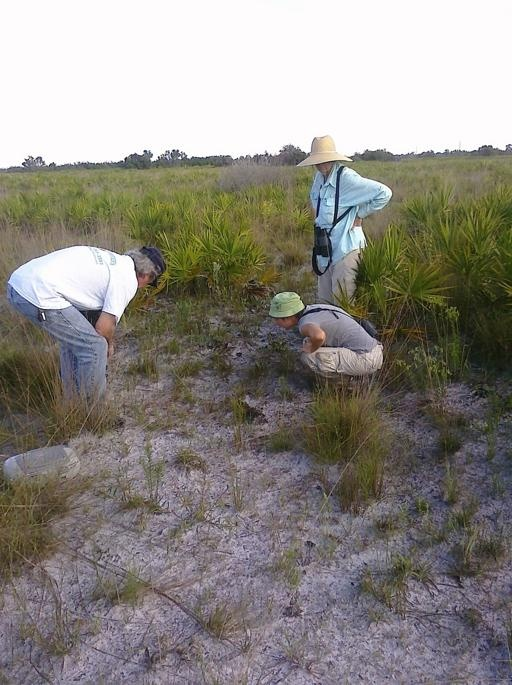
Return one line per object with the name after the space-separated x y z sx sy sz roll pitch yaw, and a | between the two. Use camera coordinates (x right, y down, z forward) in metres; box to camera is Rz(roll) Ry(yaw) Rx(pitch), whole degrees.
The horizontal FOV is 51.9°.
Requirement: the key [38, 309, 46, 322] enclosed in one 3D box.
-1.384 -0.176 3.382 0.051 0.082 0.026 6 14 31 | key

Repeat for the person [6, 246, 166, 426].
-1.183 -0.394 3.968 1.176 1.470 0.817 -11 49 -35 | person

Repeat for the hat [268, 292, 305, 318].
0.261 -0.305 4.330 0.263 0.185 0.294 -7 22 0 | hat

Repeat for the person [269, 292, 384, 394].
0.551 -0.045 4.195 0.787 0.549 0.618 22 45 19 | person

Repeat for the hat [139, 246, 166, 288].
-0.728 -0.576 3.854 0.124 0.260 0.174 -31 53 -20 | hat

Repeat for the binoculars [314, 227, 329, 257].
0.631 -0.954 4.982 0.112 0.261 0.171 -6 27 -7 | binoculars
